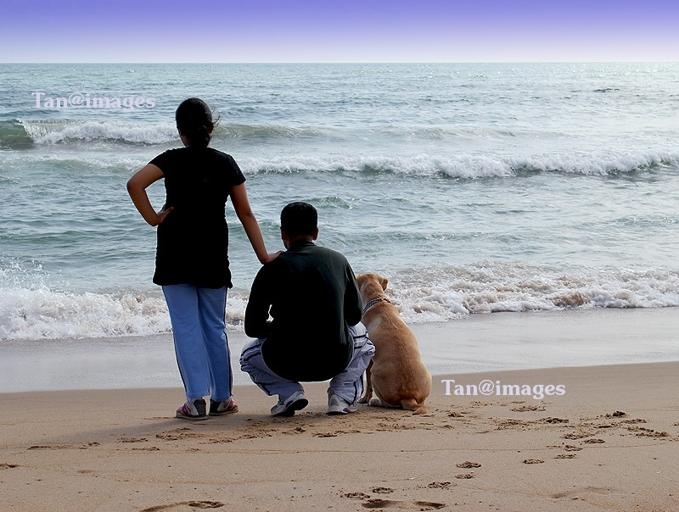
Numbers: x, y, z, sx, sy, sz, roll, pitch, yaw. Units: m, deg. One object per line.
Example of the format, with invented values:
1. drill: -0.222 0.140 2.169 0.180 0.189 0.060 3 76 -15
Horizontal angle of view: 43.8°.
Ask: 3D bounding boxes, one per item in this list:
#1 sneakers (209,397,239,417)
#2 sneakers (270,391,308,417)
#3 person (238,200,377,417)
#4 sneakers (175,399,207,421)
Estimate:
1. sneakers: -1.046 1.387 7.780 0.125 0.093 0.297 3 3 39
2. sneakers: -0.427 1.343 7.618 0.458 0.159 0.155 -24 -20 16
3. person: -0.300 0.501 7.495 1.169 1.950 0.406 0 14 1
4. sneakers: -1.281 1.378 7.507 0.159 0.109 0.328 1 0 -43
